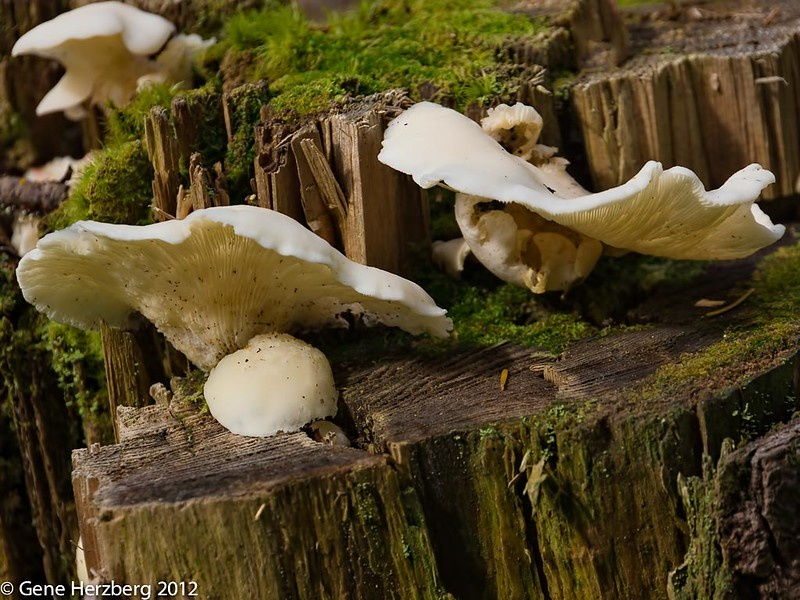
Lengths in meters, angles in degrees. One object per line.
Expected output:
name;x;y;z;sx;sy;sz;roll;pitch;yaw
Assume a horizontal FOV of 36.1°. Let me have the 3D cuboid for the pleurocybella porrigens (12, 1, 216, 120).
pleurocybella porrigens;-1.600;-1.386;6.882;0.810;0.276;0.776;-21;-2;4
